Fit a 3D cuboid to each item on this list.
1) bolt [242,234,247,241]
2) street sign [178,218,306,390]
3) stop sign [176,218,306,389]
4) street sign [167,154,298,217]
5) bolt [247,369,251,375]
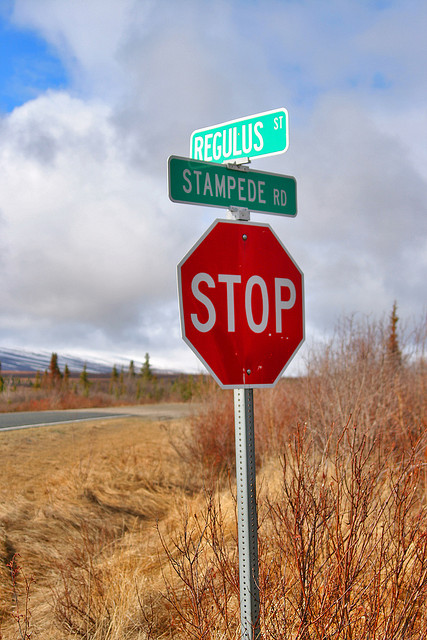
[{"bbox_3d":[0.167,-0.440,3.272,0.022,0.026,0.005,0,-1,-21],"label":"bolt"},{"bbox_3d":[0.135,-0.076,3.109,0.744,1.050,0.093,5,-14,-36],"label":"street sign"},{"bbox_3d":[0.133,-0.076,3.105,0.750,1.023,0.090,4,-12,-36],"label":"stop sign"},{"bbox_3d":[0.136,-0.746,3.487,0.883,0.307,0.103,9,1,-35],"label":"street sign"},{"bbox_3d":[0.180,0.266,3.121,0.016,0.023,0.011,1,-3,-10],"label":"bolt"}]
